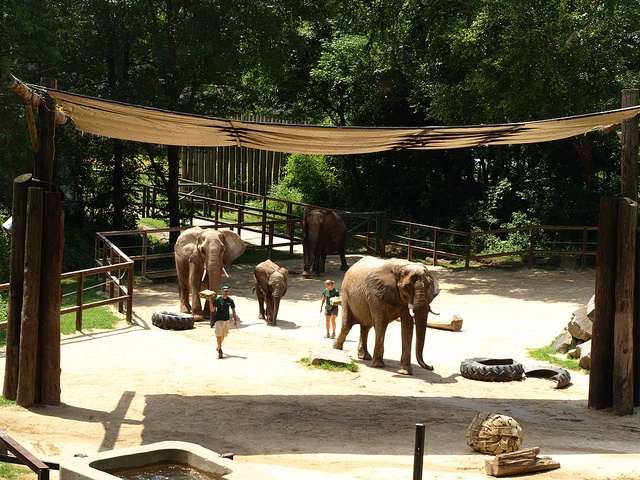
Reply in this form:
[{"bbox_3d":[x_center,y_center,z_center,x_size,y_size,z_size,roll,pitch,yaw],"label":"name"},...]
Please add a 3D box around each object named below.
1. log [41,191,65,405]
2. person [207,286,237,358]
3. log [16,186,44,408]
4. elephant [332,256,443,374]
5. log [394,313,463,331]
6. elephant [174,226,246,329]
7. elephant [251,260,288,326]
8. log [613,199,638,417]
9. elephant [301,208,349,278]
[{"bbox_3d":[-4.179,1.027,15.097,0.453,4.244,0.419,3,31,-12],"label":"log"},{"bbox_3d":[-1.813,1.412,17.775,0.467,1.196,1.612,0,6,-6],"label":"person"},{"bbox_3d":[-4.437,0.874,14.608,0.326,3.299,0.499,1,6,-2],"label":"log"},{"bbox_3d":[1.211,1.368,17.521,1.659,2.000,2.669,1,2,-38],"label":"elephant"},{"bbox_3d":[2.089,1.588,18.482,1.235,0.263,0.396,8,37,20],"label":"log"},{"bbox_3d":[-2.515,0.733,20.573,1.531,1.858,2.336,1,1,-23],"label":"elephant"},{"bbox_3d":[-1.096,1.109,20.311,0.751,1.218,1.760,4,8,-13],"label":"elephant"},{"bbox_3d":[4.887,1.078,15.398,0.375,3.405,0.637,3,6,16],"label":"log"},{"bbox_3d":[-0.014,0.085,24.992,0.838,1.651,1.668,4,7,26],"label":"elephant"}]
